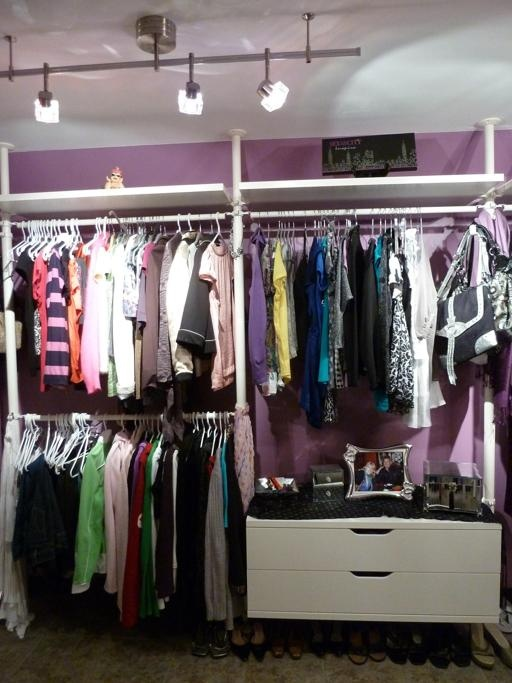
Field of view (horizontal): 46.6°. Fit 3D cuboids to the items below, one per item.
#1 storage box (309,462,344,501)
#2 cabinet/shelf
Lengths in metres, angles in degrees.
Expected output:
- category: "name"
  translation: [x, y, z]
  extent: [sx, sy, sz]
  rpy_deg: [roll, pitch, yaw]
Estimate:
- category: "storage box"
  translation: [0.311, 0.600, 2.555]
  extent: [0.097, 0.091, 0.118]
  rpy_deg: [0, -4, -8]
- category: "cabinet/shelf"
  translation: [0.190, 0.257, 2.515]
  extent: [1.687, 1.837, 0.718]
  rpy_deg: [1, 8, 19]
